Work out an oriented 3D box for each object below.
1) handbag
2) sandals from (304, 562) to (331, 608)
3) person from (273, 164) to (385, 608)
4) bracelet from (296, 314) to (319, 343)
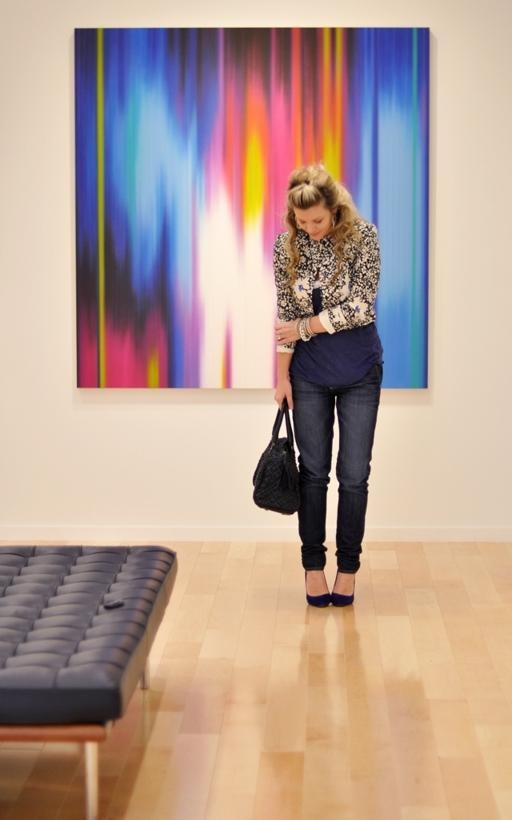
[{"bbox_3d":[0.072,0.176,2.268,0.153,0.404,0.209,-1,0,3],"label":"handbag"},{"bbox_3d":[0.217,0.629,2.291,0.050,0.074,0.164,-2,-3,-2],"label":"sandals"},{"bbox_3d":[0.247,-0.027,2.173,0.358,1.430,0.491,-1,0,-3],"label":"person"},{"bbox_3d":[0.165,-0.255,2.121,0.040,0.079,0.061,3,11,26],"label":"bracelet"}]
